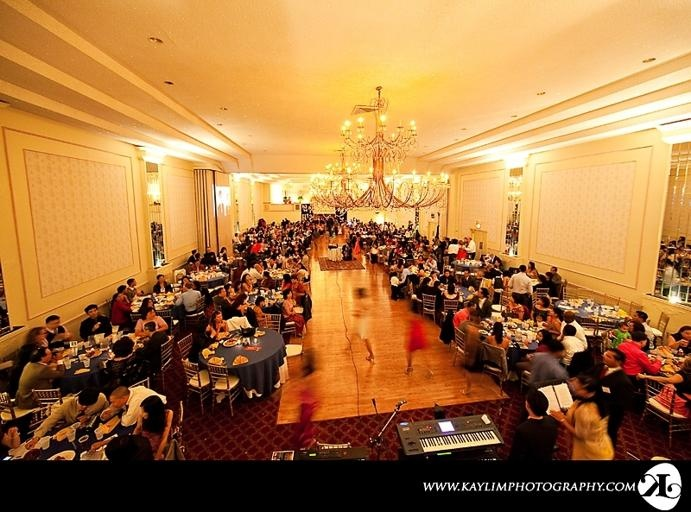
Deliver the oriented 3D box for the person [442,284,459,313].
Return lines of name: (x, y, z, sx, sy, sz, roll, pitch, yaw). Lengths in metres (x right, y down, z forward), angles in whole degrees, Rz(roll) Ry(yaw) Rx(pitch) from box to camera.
person: (2.637, 1.098, 11.180, 0.464, 0.869, 0.524, 3, 27, 15)

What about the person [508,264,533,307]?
person: (4.685, 0.992, 11.781, 0.520, 1.528, 0.441, 5, 26, 31)

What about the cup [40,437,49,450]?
cup: (-4.366, 2.708, 6.422, 0.097, 0.099, 0.126, -6, -15, -13)

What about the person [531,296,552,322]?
person: (4.522, 1.256, 10.228, 0.329, 0.776, 0.274, -18, 29, -13)

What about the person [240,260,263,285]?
person: (-2.808, 0.512, 13.279, 0.406, 0.788, 0.349, -5, 26, -32)

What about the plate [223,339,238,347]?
plate: (-2.294, 1.725, 8.818, 0.290, 0.075, 0.224, -1, 11, -3)

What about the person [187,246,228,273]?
person: (-4.716, 0.198, 14.900, 0.967, 0.530, 1.384, 0, 3, -6)

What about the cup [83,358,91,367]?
cup: (-4.733, 1.950, 8.053, 0.126, 0.135, 0.101, -6, 13, -23)

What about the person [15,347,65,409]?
person: (-5.192, 2.088, 7.467, 0.458, 0.936, 0.649, 26, 18, 15)

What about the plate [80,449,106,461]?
plate: (-3.628, 2.836, 6.331, 0.357, 0.108, 0.101, -1, 10, -2)

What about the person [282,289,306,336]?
person: (-1.286, 1.406, 10.829, 0.669, 1.386, 0.536, -4, 25, -9)

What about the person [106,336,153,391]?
person: (-3.820, 1.916, 7.783, 0.690, 1.158, 0.758, -7, 35, -23)

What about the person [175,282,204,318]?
person: (-3.972, 1.099, 11.240, 0.833, 0.945, 0.658, -4, 15, -17)

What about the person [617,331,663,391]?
person: (5.146, 1.884, 7.777, 0.419, 1.128, 0.504, -25, 35, -21)

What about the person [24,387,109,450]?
person: (-4.204, 2.360, 6.672, 0.995, 0.698, 0.520, -4, 10, -18)

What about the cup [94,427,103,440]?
cup: (-3.669, 2.648, 6.583, 0.088, 0.134, 0.148, 3, 7, 7)

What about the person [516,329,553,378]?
person: (3.599, 1.938, 8.435, 0.575, 1.165, 0.391, 4, 11, 24)

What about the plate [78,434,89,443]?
plate: (-3.869, 2.694, 6.534, 0.087, 0.020, 0.091, 8, 8, 32)

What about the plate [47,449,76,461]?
plate: (-4.030, 2.834, 6.324, 0.364, 0.079, 0.170, 0, 10, 0)
